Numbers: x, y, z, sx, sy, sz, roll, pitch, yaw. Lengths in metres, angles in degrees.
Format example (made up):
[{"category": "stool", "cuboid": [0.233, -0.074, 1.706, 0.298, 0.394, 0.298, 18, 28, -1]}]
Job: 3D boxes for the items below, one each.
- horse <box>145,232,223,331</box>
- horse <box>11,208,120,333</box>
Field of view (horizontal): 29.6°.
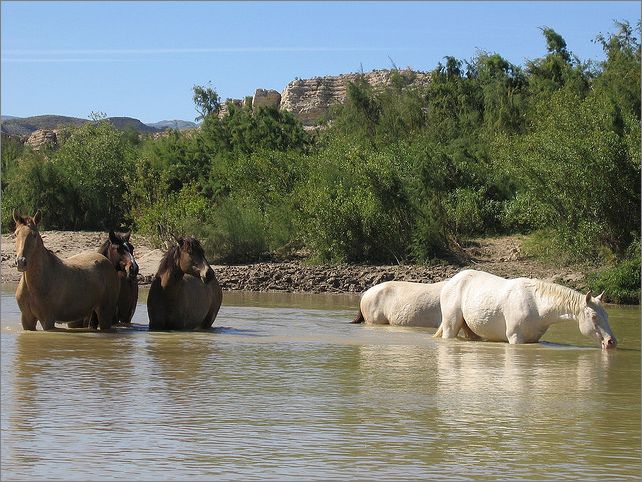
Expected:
[{"category": "horse", "cuboid": [-3.173, 1.040, 30.021, 1.781, 2.554, 2.911, 4, 8, 15]}, {"category": "horse", "cuboid": [-6.012, 0.750, 27.710, 0.828, 2.903, 2.678, 9, 10, 42]}]
